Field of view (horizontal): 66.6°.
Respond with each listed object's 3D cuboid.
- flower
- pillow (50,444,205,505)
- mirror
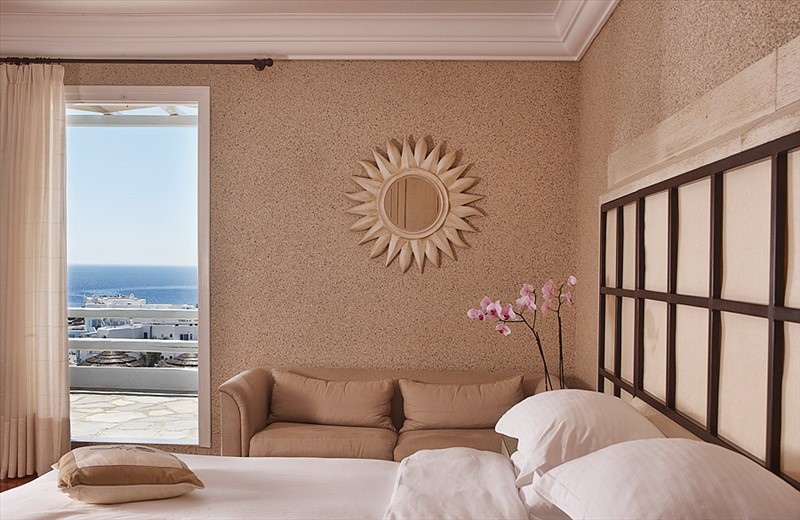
[{"bbox_3d":[0.958,0.573,4.680,0.766,0.871,0.570,-5,-9,-7],"label":"flower"},{"bbox_3d":[-1.483,1.131,3.240,0.434,0.123,0.407,3,-6,-17],"label":"pillow"},{"bbox_3d":[0.093,-0.471,4.873,1.227,1.080,0.061,3,8,35],"label":"mirror"}]
